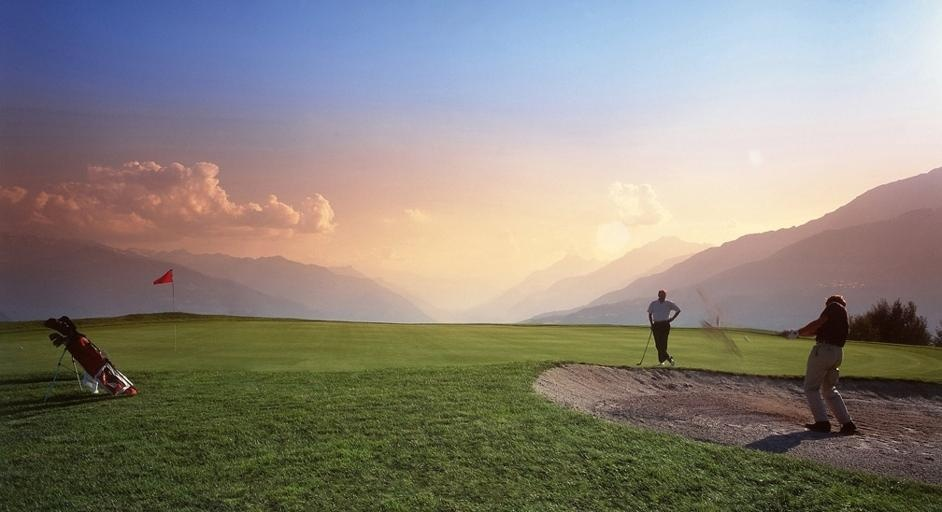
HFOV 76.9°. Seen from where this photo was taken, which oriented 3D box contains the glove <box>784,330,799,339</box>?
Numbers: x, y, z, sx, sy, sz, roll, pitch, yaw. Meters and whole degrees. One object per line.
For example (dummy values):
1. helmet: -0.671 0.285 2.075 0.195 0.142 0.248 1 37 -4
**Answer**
1. glove: 14.099 3.432 26.035 0.499 0.127 0.471 1 37 11
